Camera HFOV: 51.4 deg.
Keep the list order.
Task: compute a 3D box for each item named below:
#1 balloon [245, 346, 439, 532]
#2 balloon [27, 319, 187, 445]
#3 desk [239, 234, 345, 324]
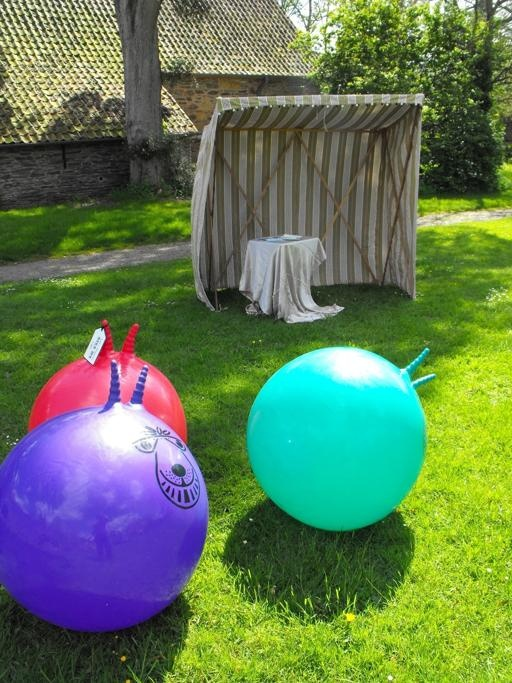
[{"bbox_3d":[0.392,0.502,2.553,0.833,0.813,0.480,0,15,-2],"label":"balloon"},{"bbox_3d":[-0.731,0.165,2.674,0.566,0.889,0.636,4,7,15],"label":"balloon"},{"bbox_3d":[0.363,-0.965,7.346,1.123,1.075,1.548,-4,17,-3],"label":"desk"}]
